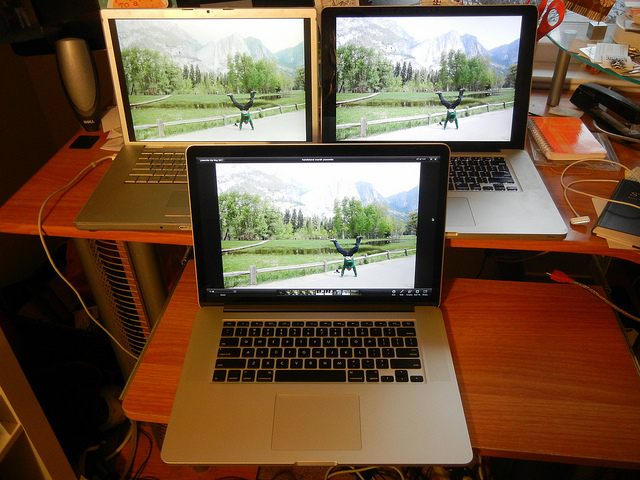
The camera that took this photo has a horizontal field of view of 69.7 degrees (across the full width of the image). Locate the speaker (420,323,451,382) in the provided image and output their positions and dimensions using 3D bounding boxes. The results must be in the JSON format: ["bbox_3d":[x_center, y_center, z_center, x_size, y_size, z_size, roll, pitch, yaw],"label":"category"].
[{"bbox_3d":[0.237,0.231,0.943,0.041,0.044,0.120,-3,32,2],"label":"speaker"}]

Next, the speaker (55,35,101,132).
[{"bbox_3d":[-0.696,-0.452,1.343,0.110,0.245,0.073,-8,14,1],"label":"speaker"}]

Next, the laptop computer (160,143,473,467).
[{"bbox_3d":[-0.009,0.103,0.881,0.573,0.382,0.521,3,41,5],"label":"laptop computer"}]
